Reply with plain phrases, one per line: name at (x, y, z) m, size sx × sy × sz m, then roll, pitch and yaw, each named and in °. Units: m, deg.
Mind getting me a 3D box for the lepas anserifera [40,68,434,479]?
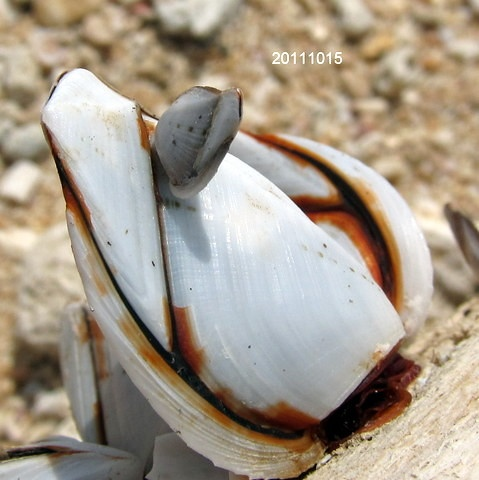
lepas anserifera at (-0.098, 0.108, 1.739) m, size 0.759 × 0.281 × 0.876 m, roll -32°, pitch 98°, yaw -22°
